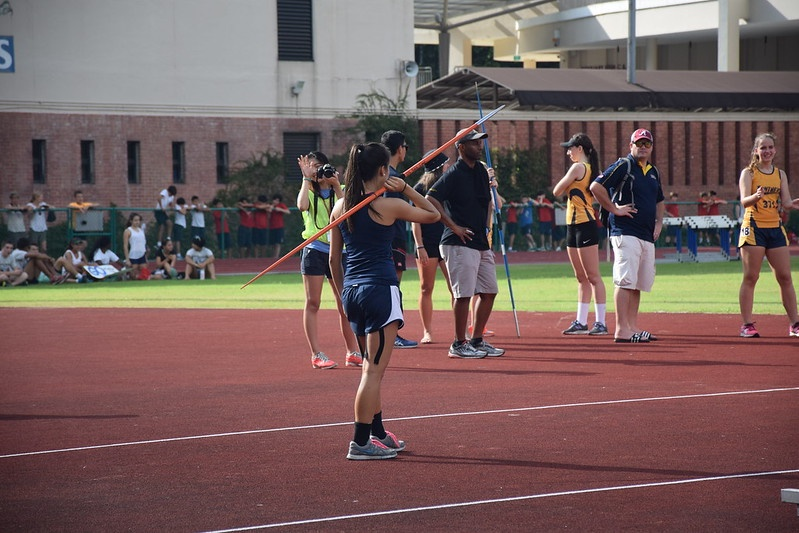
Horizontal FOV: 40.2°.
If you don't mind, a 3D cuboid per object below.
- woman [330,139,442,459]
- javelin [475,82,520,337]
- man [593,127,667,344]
[{"bbox_3d":[-0.140,0.314,10.683,0.887,3.009,0.770,-1,7,1],"label":"woman"},{"bbox_3d":[2.345,-1.510,25.263,0.142,7.455,0.207,0,14,43],"label":"javelin"},{"bbox_3d":[3.296,-0.439,15.412,0.760,2.939,1.011,5,9,43],"label":"man"}]
